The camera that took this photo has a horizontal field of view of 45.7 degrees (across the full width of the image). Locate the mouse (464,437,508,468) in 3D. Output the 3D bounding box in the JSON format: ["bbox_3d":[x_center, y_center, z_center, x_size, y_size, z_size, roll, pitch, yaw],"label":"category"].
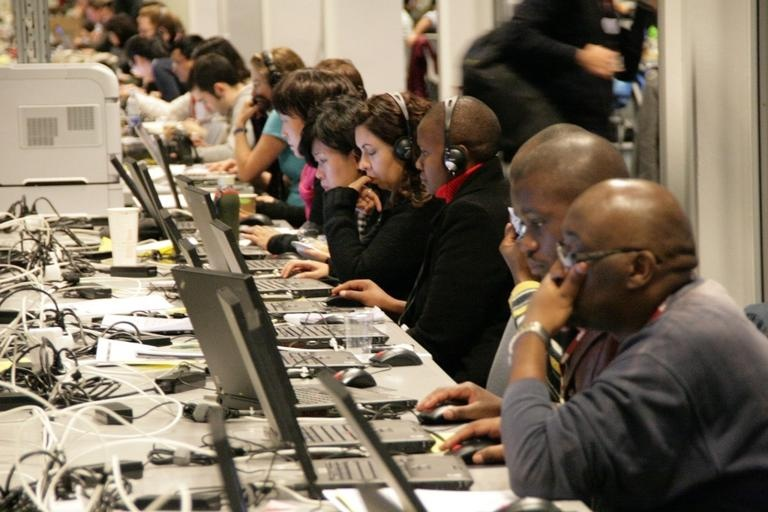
[{"bbox_3d":[0.256,0.497,2.291,0.100,0.022,0.066,-2,15,-14],"label":"mouse"}]

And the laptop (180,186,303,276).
[{"bbox_3d":[-0.616,-0.102,3.966,0.065,0.488,0.509,-28,25,-15],"label":"laptop"}]

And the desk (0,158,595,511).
[{"bbox_3d":[-0.353,0.223,2.240,0.673,0.546,0.907,-15,11,-10],"label":"desk"}]

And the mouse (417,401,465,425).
[{"bbox_3d":[0.145,0.420,2.440,0.100,0.027,0.052,-6,11,-20],"label":"mouse"}]

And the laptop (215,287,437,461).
[{"bbox_3d":[-0.076,0.310,2.097,0.487,0.354,0.513,-9,9,-18],"label":"laptop"}]

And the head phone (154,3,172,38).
[{"bbox_3d":[-2.195,-2.313,8.978,0.116,0.312,0.190,-3,8,10],"label":"head phone"}]

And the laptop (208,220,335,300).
[{"bbox_3d":[-0.420,0.027,3.171,0.335,0.170,0.307,-2,8,-20],"label":"laptop"}]

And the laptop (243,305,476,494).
[{"bbox_3d":[-0.050,0.288,2.065,0.506,0.288,0.512,-1,5,-13],"label":"laptop"}]

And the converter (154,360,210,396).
[{"bbox_3d":[-0.582,0.354,2.602,0.068,0.040,0.122,6,7,27],"label":"converter"}]

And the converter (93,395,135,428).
[{"bbox_3d":[-0.709,0.412,2.365,0.108,0.040,0.070,0,9,-12],"label":"converter"}]

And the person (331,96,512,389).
[{"bbox_3d":[0.209,0.009,3.449,0.767,1.200,0.621,-1,27,5],"label":"person"}]

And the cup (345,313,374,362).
[{"bbox_3d":[-0.094,0.254,2.946,0.118,0.149,0.109,-1,-4,0],"label":"cup"}]

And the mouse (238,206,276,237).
[{"bbox_3d":[-0.731,-0.193,5.041,0.124,0.122,0.346,-4,1,-9],"label":"mouse"}]

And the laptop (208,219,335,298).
[{"bbox_3d":[-0.381,0.047,2.983,0.335,0.171,0.307,-2,9,-21],"label":"laptop"}]

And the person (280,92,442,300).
[{"bbox_3d":[-0.100,-0.196,3.936,0.850,0.889,0.733,1,7,10],"label":"person"}]

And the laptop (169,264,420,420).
[{"bbox_3d":[-0.149,0.177,2.335,0.467,0.273,0.456,-12,0,-5],"label":"laptop"}]
